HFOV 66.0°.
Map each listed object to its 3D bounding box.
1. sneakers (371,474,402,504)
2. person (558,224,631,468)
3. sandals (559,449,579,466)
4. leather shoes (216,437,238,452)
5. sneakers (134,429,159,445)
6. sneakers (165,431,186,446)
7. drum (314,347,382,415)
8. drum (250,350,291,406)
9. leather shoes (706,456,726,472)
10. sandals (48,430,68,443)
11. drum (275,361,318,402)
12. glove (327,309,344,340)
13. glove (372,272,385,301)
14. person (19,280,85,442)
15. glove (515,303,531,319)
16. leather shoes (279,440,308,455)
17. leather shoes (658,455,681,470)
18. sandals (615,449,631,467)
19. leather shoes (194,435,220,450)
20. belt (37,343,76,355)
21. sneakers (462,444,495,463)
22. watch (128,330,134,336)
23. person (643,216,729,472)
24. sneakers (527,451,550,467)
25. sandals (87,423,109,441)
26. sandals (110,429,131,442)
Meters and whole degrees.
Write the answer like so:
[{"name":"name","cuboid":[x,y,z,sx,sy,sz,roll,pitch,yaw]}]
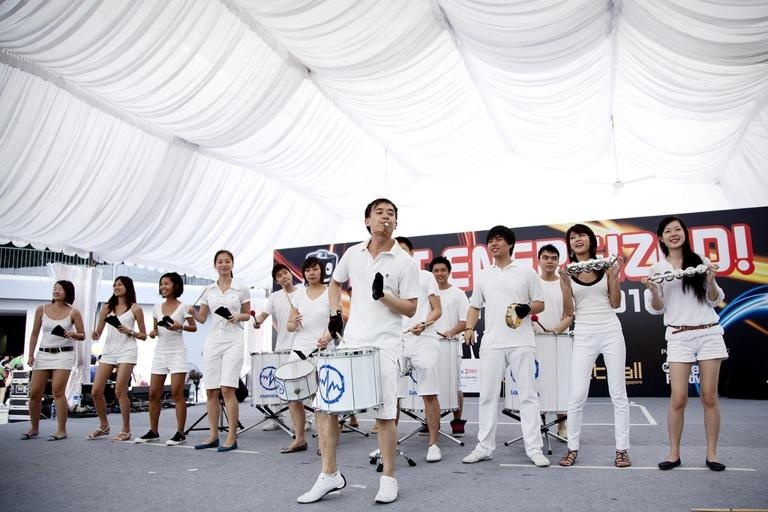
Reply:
[{"name":"sneakers","cuboid":[0.024,2.359,6.024,0.258,0.266,0.220,2,-11,-9]},{"name":"person","cuboid":[2.410,1.026,6.993,0.771,2.810,0.849,-4,-11,19]},{"name":"sandals","cuboid":[2.159,2.362,6.969,0.150,0.189,0.371,-9,-15,37]},{"name":"leather shoes","cuboid":[-2.068,2.519,7.877,0.121,0.103,0.254,-9,-23,14]},{"name":"sneakers","cuboid":[-3.448,2.618,8.497,0.405,0.194,0.138,8,-10,-27]},{"name":"sneakers","cuboid":[-2.899,2.568,8.333,0.138,0.164,0.351,-5,-19,17]},{"name":"drum","cuboid":[-0.374,1.221,5.988,0.605,0.574,0.630,0,-6,-1]},{"name":"drum","cuboid":[-1.690,1.750,8.404,0.665,0.795,0.723,0,-7,-7]},{"name":"leather shoes","cuboid":[3.634,2.304,6.526,0.182,0.115,0.156,-7,-13,29]},{"name":"sandals","cuboid":[-4.841,2.673,8.784,0.240,0.106,0.329,6,-13,-26]},{"name":"drum","cuboid":[-1.115,1.503,7.122,0.522,0.359,0.551,-1,5,0]},{"name":"glove","cuboid":[-0.473,0.729,6.212,0.129,0.349,0.226,-8,-3,-16]},{"name":"glove","cuboid":[-0.068,0.319,5.933,0.140,0.239,0.100,5,9,27]},{"name":"person","cuboid":[-4.989,1.544,8.970,0.693,2.392,0.883,7,-13,-32]},{"name":"glove","cuboid":[1.623,0.653,6.943,0.133,0.171,0.255,-7,-14,32]},{"name":"leather shoes","cuboid":[-1.193,2.545,7.813,0.329,0.134,0.127,7,-19,-19]},{"name":"leather shoes","cuboid":[3.179,2.333,6.623,0.281,0.123,0.097,11,-28,-32]},{"name":"sandals","cuboid":[2.738,2.335,6.844,0.187,0.180,0.286,-5,-13,21]},{"name":"leather shoes","cuboid":[-2.355,2.532,8.002,0.387,0.179,0.128,13,-17,-42]},{"name":"belt","cuboid":[-4.919,1.399,8.847,0.433,0.128,0.162,1,-12,-6]},{"name":"sneakers","cuboid":[1.119,2.400,7.171,0.399,0.193,0.157,4,-12,-22]},{"name":"watch","cuboid":[-3.718,1.142,8.709,0.064,0.077,0.047,-11,-15,44]},{"name":"person","cuboid":[3.394,0.946,6.672,0.778,2.837,0.858,-7,-13,34]},{"name":"sneakers","cuboid":[1.781,2.373,6.936,0.127,0.099,0.251,-3,-11,-10]},{"name":"sandals","cuboid":[-4.267,2.652,8.856,0.131,0.134,0.300,-4,-18,12]},{"name":"sandals","cuboid":[-3.807,2.601,8.563,0.125,0.100,0.264,-6,-21,11]}]
